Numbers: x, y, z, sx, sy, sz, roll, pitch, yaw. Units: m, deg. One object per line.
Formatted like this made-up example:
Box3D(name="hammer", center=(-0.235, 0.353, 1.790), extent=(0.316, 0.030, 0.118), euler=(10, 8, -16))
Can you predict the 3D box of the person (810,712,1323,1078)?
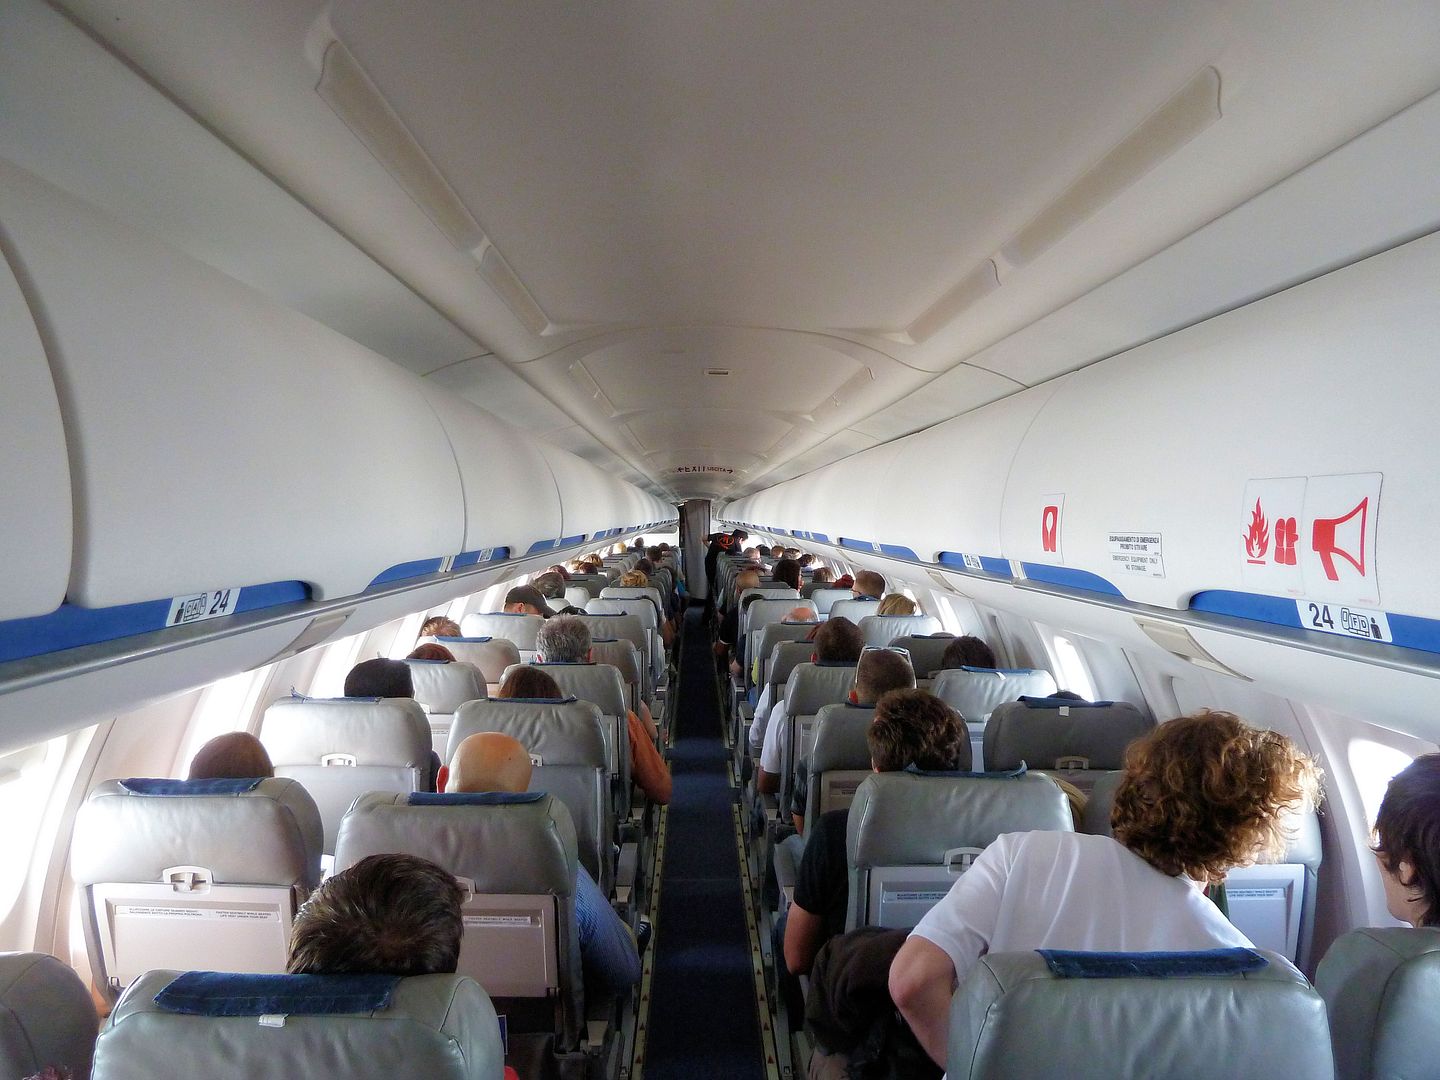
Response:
Box3D(name="person", center=(1.007, 0.920, 2.288), extent=(1.094, 0.909, 0.263), euler=(0, -5, -7))
